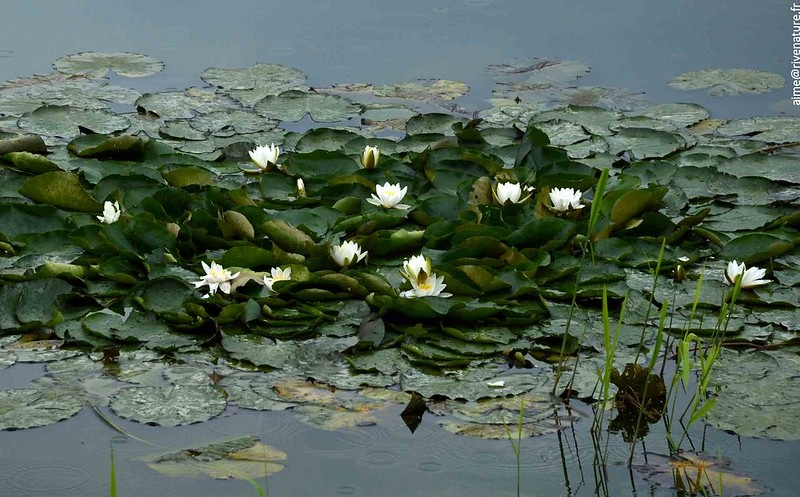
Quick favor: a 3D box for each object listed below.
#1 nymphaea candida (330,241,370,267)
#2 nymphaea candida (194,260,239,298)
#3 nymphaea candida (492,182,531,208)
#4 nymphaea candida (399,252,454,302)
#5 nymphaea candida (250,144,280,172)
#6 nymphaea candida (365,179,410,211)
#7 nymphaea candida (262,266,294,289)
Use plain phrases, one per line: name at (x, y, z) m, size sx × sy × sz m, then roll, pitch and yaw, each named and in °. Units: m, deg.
nymphaea candida at (-0.339, 0.035, 4.783) m, size 0.286 × 0.075 × 0.201 m, roll 4°, pitch 13°, yaw 15°
nymphaea candida at (-1.148, 0.182, 4.600) m, size 0.283 × 0.208 × 0.225 m, roll -4°, pitch 6°, yaw -19°
nymphaea candida at (0.819, -0.391, 5.342) m, size 0.292 × 0.090 × 0.237 m, roll 0°, pitch 16°, yaw -1°
nymphaea candida at (0.154, 0.181, 4.528) m, size 0.317 × 0.269 × 0.248 m, roll -2°, pitch 6°, yaw 2°
nymphaea candida at (-1.077, -0.724, 5.854) m, size 0.205 × 0.205 × 0.216 m, roll -3°, pitch 6°, yaw -4°
nymphaea candida at (-0.135, -0.380, 5.295) m, size 0.352 × 0.096 × 0.286 m, roll -23°, pitch 29°, yaw -36°
nymphaea candida at (-0.772, 0.187, 4.628) m, size 0.181 × 0.134 × 0.129 m, roll -3°, pitch 6°, yaw -5°
